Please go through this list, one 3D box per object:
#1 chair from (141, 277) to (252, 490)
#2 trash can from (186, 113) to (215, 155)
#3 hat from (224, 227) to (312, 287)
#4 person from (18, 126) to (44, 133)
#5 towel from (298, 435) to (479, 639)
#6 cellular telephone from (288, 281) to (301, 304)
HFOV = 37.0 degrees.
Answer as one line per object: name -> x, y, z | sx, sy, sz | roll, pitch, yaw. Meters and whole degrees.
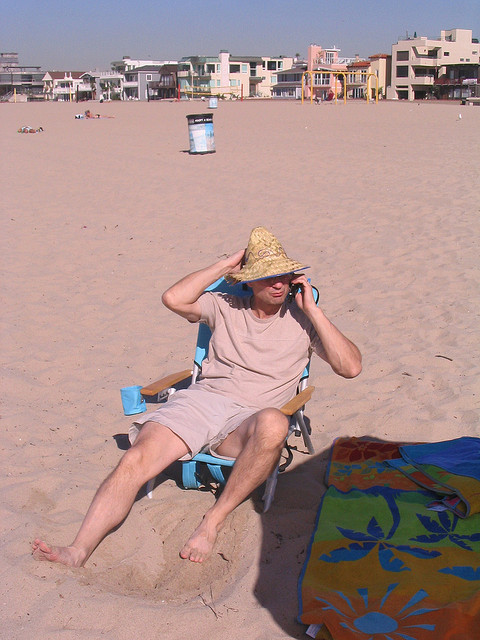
chair -> -0.340, 0.377, 3.881 | 0.583, 0.681, 0.469 | -19, -3, -13
trash can -> -0.880, -4.113, 15.962 | 0.551, 0.863, 0.444 | -4, 17, -3
hat -> 0.113, -0.331, 3.466 | 0.509, 0.227, 0.387 | -11, 23, 7
person -> -6.243, -5.658, 21.390 | 0.704, 0.171, 0.822 | -5, 15, -14
towel -> 0.555, 0.878, 2.736 | 0.513, 0.033, 1.039 | -1, 15, 15
cellular telephone -> 0.243, -0.129, 3.362 | 0.048, 0.077, 0.019 | 45, 15, 33
